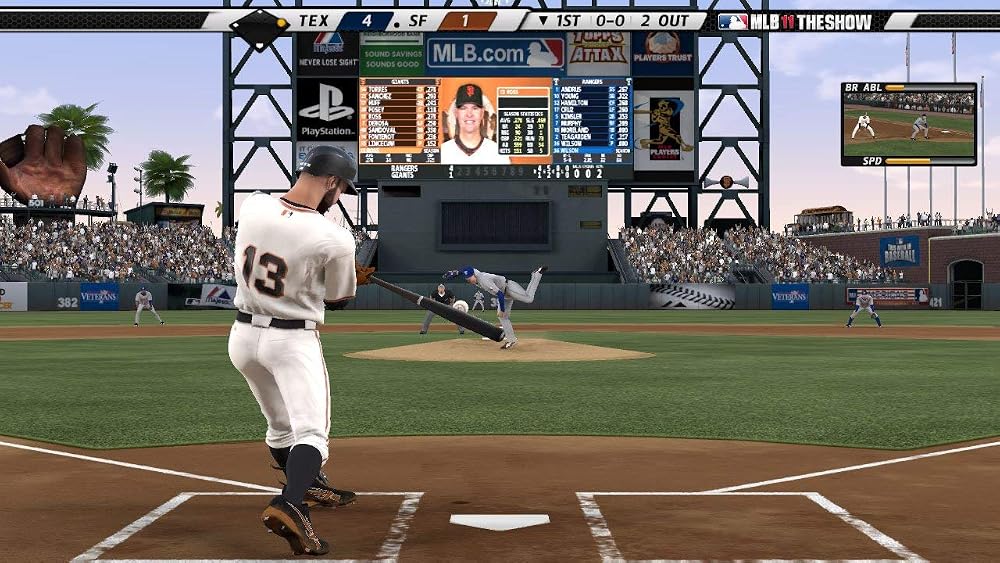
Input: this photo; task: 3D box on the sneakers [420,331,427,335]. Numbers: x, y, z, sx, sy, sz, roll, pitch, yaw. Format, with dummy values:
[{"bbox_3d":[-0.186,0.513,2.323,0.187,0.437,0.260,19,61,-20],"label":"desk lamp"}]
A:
[{"bbox_3d":[-3.070,2.042,42.291,0.163,0.136,0.392,-1,-5,2],"label":"sneakers"}]
